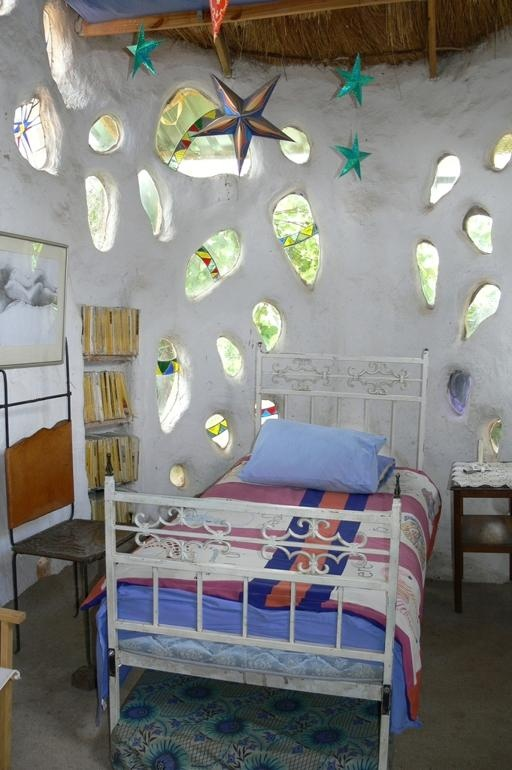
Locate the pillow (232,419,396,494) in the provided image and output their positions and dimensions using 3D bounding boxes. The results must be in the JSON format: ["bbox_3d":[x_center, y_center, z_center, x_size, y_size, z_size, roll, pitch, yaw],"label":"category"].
[{"bbox_3d":[0.256,0.337,3.017,0.489,0.154,0.364,9,39,25],"label":"pillow"}]

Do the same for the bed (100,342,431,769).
[{"bbox_3d":[0.121,0.322,2.517,1.049,1.125,1.663,2,12,15],"label":"bed"}]
